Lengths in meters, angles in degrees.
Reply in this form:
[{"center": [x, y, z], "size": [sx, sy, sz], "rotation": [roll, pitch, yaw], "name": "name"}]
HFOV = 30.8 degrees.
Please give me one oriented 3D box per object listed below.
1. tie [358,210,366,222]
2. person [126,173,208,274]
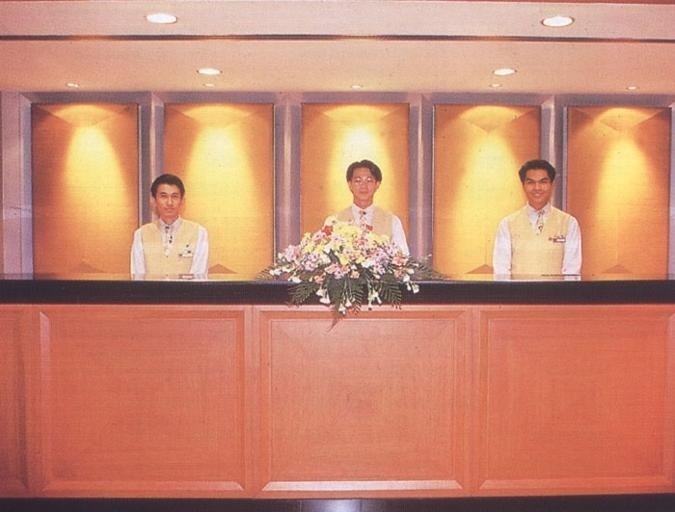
[{"center": [0.241, -0.388, 11.971], "size": [0.107, 0.092, 0.030], "rotation": [0, -14, 21], "name": "tie"}, {"center": [-1.538, -0.287, 11.211], "size": [0.686, 0.884, 0.270], "rotation": [0, 2, -7], "name": "person"}]
